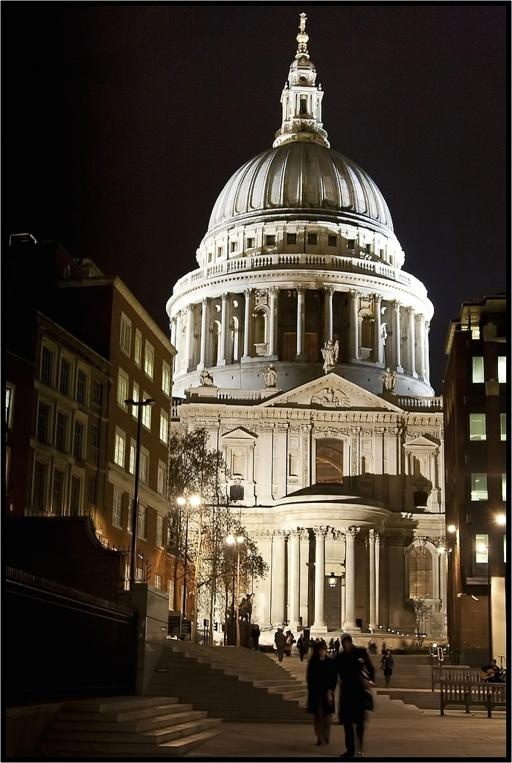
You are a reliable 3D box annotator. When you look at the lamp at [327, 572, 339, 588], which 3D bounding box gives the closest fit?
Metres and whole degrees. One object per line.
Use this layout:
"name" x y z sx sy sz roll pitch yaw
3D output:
"lamp" 6.479 16.773 76.131 0.965 1.147 2.596 1 -17 5
